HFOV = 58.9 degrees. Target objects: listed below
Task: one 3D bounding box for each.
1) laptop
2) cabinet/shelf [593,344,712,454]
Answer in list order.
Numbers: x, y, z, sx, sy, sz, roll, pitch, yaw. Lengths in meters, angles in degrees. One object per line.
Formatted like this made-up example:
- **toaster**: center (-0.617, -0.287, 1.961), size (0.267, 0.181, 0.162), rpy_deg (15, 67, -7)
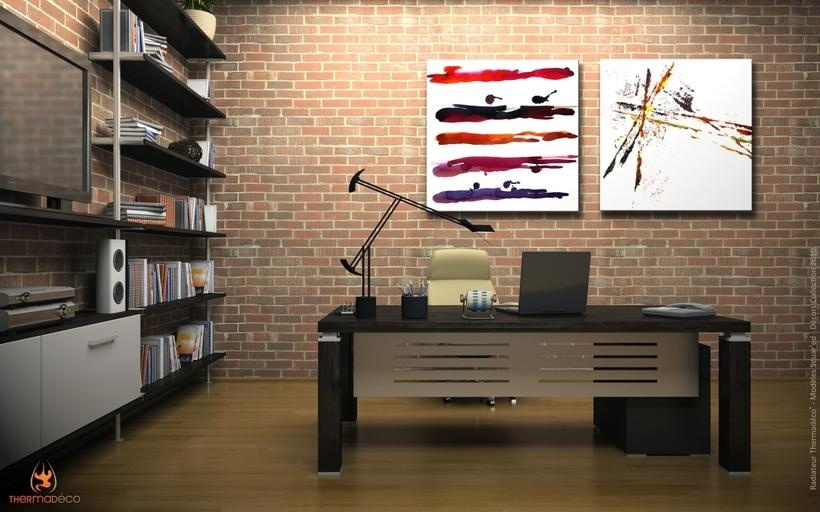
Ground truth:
- **laptop**: center (0.850, 0.233, 5.298), size (0.614, 0.439, 0.672), rpy_deg (0, -8, -28)
- **cabinet/shelf**: center (1.851, 0.866, 5.614), size (0.797, 0.894, 1.366), rpy_deg (1, -4, 0)
